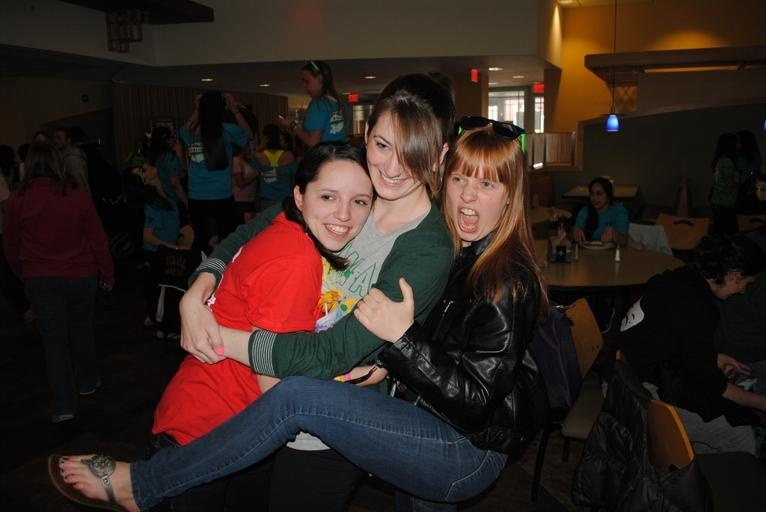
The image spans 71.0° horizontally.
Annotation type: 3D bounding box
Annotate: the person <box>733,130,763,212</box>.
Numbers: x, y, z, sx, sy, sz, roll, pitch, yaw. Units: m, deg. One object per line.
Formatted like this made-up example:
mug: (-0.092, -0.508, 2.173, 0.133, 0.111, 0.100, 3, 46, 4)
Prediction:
person: (5.165, -1.164, 7.561, 0.381, 1.125, 0.385, 8, 15, 30)

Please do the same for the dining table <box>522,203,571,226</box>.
dining table: (1.924, -0.472, 6.294, 0.741, 0.181, 0.199, 7, 52, -2)

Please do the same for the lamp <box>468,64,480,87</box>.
lamp: (1.889, -3.680, 10.994, 0.240, 0.445, 0.245, 8, -5, -7)

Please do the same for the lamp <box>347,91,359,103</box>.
lamp: (-0.874, -4.667, 15.875, 0.262, 0.241, 0.256, -5, 25, -24)

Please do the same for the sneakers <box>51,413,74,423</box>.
sneakers: (-2.687, 1.344, 4.520, 0.125, 0.055, 0.102, 4, -14, -44)
